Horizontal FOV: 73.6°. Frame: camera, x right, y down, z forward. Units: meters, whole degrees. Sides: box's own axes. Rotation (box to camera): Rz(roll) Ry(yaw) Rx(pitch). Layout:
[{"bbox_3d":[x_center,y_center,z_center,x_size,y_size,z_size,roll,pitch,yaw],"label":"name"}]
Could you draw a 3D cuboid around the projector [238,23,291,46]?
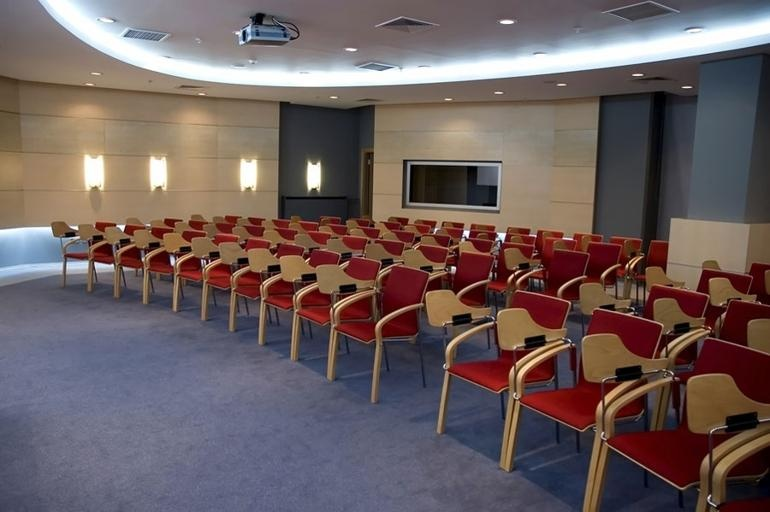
[{"bbox_3d":[-2.016,-3.590,8.468,0.483,0.178,0.481,-2,7,-22],"label":"projector"}]
